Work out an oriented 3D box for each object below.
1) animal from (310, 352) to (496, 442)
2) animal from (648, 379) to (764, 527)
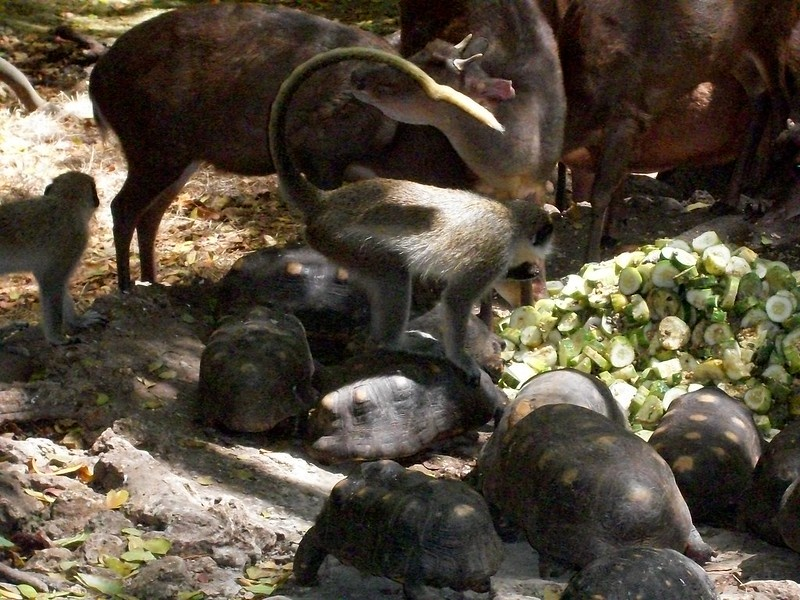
[{"bbox_3d":[0.053,0.611,5.804,1.106,0.231,0.616,-6,11,-21],"label":"animal"},{"bbox_3d":[1.771,0.879,5.607,0.632,0.417,0.889,28,26,4],"label":"animal"}]
